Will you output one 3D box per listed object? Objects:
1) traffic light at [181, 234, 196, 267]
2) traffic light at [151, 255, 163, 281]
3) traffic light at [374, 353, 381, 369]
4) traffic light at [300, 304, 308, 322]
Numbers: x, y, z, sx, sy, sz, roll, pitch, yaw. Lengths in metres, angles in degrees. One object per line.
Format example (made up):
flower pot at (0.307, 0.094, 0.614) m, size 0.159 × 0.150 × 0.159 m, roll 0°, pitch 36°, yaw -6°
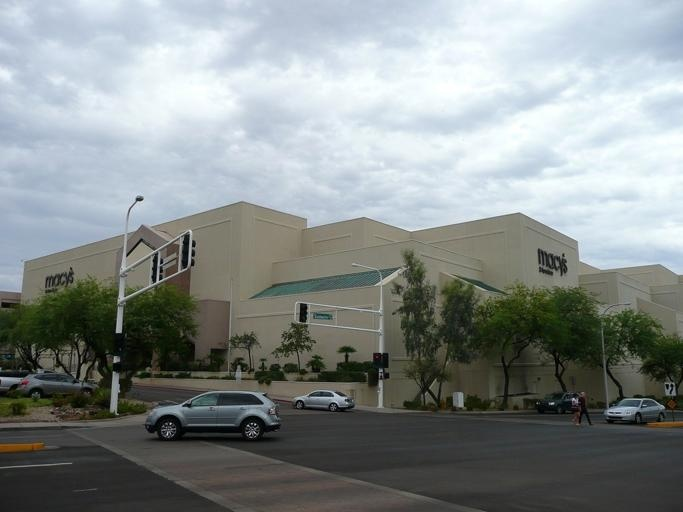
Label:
traffic light at (-6.962, -0.262, 26.438) m, size 0.587 × 1.657 × 0.914 m, roll 4°, pitch -13°, yaw -19°
traffic light at (-9.123, 0.645, 28.734) m, size 0.518 × 1.620 × 0.860 m, roll 2°, pitch -12°, yaw -10°
traffic light at (2.802, 8.123, 45.175) m, size 0.564 × 1.123 × 0.623 m, roll 3°, pitch -12°, yaw -13°
traffic light at (-2.538, 3.857, 39.350) m, size 0.449 × 1.307 × 0.925 m, roll 1°, pitch -12°, yaw -7°
